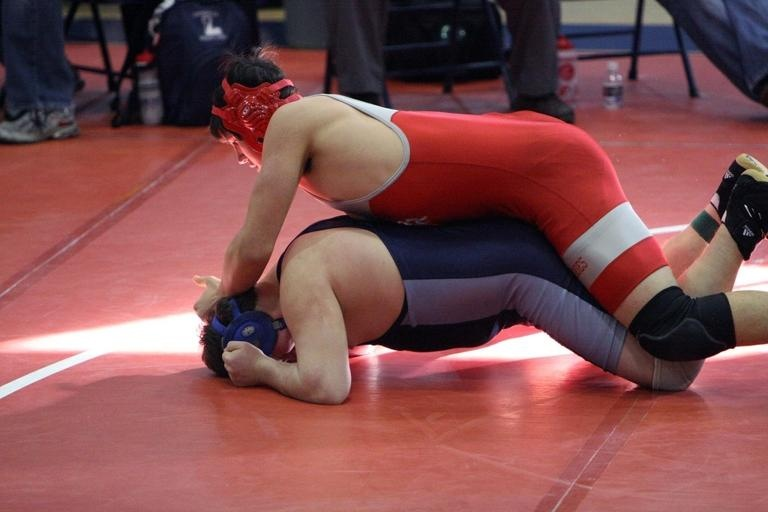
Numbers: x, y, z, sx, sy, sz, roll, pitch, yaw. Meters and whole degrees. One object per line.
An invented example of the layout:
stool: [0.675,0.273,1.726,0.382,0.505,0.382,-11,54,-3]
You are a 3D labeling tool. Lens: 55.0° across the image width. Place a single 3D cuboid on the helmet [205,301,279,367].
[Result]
helmet: [-0.400,0.174,1.835,0.206,0.093,0.156,-13,25,-28]
